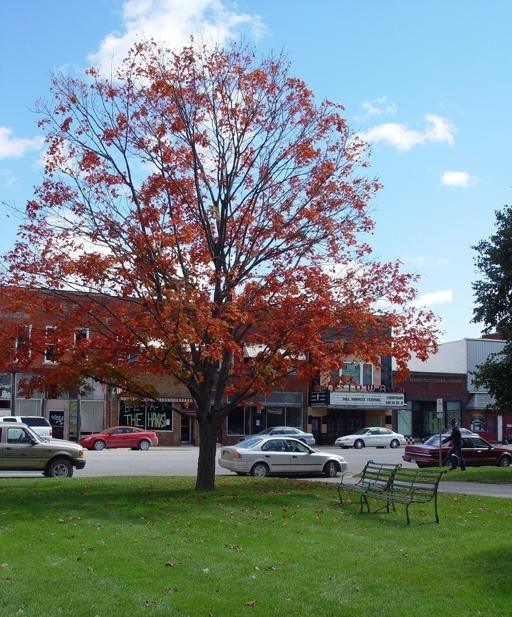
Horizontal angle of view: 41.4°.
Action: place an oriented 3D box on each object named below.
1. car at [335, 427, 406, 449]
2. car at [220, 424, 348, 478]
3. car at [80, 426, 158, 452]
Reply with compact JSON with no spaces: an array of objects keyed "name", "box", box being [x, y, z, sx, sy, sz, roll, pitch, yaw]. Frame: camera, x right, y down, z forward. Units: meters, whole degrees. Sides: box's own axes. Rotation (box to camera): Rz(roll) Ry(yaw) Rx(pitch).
[{"name":"car","box":[7.654,8.729,45.772,4.425,1.111,1.743,4,-8,-20]},{"name":"car","box":[0.852,4.973,22.749,3.590,1.384,1.446,6,-13,-28]},{"name":"car","box":[-7.960,7.584,39.660,3.962,1.092,1.509,5,-8,-21]}]
